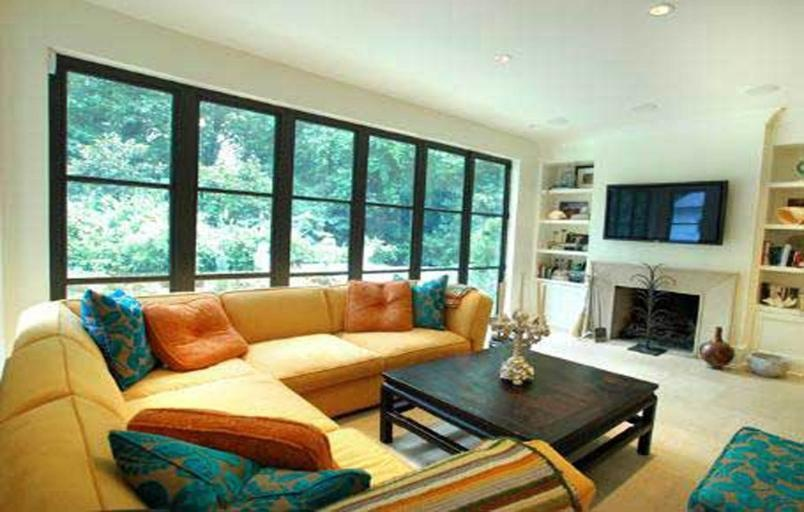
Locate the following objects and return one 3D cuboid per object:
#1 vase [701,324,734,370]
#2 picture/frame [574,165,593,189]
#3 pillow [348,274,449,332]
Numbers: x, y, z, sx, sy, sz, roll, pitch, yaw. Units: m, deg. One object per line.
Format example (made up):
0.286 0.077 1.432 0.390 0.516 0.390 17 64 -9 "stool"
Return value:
3.636 1.036 6.327 0.418 0.477 0.300 -3 6 -27 "vase"
2.588 -1.131 7.858 0.220 0.348 0.331 1 5 13 "picture/frame"
-0.089 0.501 5.659 0.719 0.580 0.223 6 -21 -5 "pillow"
